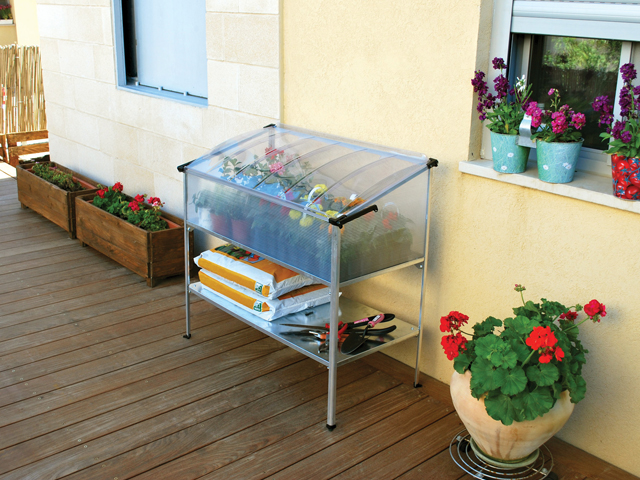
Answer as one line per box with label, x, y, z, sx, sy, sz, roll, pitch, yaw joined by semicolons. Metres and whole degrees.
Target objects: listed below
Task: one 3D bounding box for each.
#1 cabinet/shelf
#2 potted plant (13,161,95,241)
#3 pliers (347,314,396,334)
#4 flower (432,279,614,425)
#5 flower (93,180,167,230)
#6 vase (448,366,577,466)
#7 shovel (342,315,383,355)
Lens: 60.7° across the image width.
cabinet/shelf;-0.064;0.103;2.957;0.738;1.221;1.291;-19;30;-41
potted plant;-2.320;-0.323;4.781;0.238;0.275;0.737;-18;31;-40
pliers;0.250;0.423;2.836;0.174;0.023;0.093;-11;32;-29
flower;0.824;0.431;2.265;0.578;0.453;0.537;-12;26;-31
flower;-1.572;-0.273;4.337;0.778;0.245;0.222;11;-3;22
vase;0.825;0.764;2.367;0.471;0.291;0.457;-8;16;-25
shovel;0.193;0.473;2.724;0.091;0.044;0.325;13;14;20
